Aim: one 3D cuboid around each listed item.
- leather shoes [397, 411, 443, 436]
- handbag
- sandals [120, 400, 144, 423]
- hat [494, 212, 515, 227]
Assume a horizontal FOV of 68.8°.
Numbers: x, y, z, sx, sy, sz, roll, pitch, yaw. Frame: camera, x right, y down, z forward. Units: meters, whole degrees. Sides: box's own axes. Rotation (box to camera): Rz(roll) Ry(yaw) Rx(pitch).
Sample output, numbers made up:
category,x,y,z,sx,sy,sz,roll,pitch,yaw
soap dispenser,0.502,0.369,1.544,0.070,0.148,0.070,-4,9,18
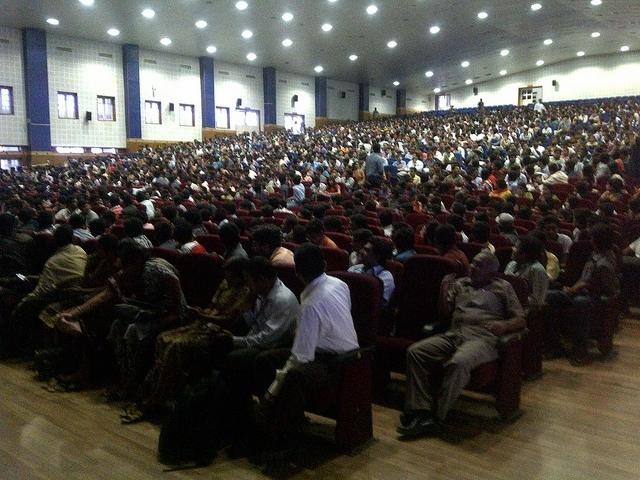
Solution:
category,x,y,z,sx,sy,sz,roll,pitch,yaw
leather shoes,0.726,1.361,3.455,0.382,0.202,0.150,-2,43,-6
handbag,-0.943,1.366,3.293,0.312,0.464,0.166,0,1,-13
sandals,-1.509,1.386,3.761,0.130,0.040,0.137,3,1,21
hat,2.225,-0.206,5.628,0.180,0.139,0.251,26,29,29
